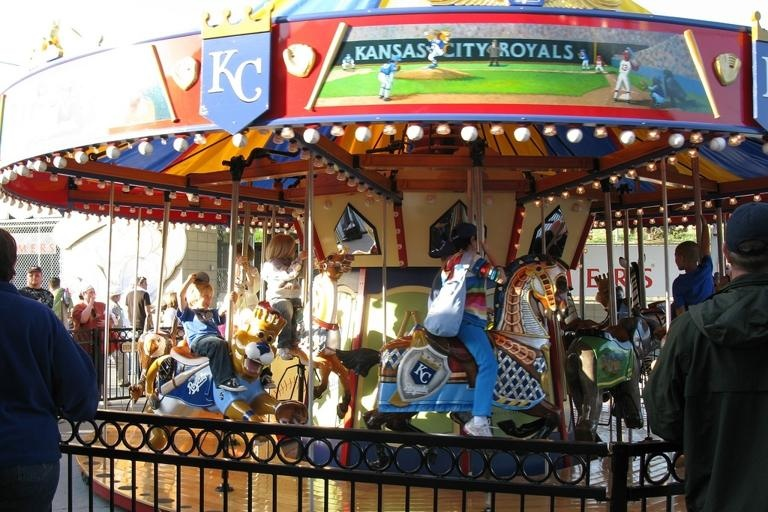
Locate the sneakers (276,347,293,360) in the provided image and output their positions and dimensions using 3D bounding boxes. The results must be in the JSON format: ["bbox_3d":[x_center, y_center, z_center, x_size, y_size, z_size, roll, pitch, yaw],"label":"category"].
[{"bbox_3d":[-1.112,1.096,10.913,0.106,0.137,0.192,1,-17,-3],"label":"sneakers"}]

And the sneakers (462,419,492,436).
[{"bbox_3d":[0.913,1.637,9.238,0.309,0.158,0.129,3,-8,20],"label":"sneakers"}]

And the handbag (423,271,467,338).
[{"bbox_3d":[0.601,0.460,9.342,0.433,0.647,0.239,-1,-7,17],"label":"handbag"}]

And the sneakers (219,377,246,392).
[{"bbox_3d":[-1.465,1.260,9.450,0.254,0.132,0.118,1,-6,5],"label":"sneakers"}]

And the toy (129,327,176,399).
[{"bbox_3d":[-2.487,1.096,10.503,0.552,0.946,0.354,-1,-14,40],"label":"toy"}]
